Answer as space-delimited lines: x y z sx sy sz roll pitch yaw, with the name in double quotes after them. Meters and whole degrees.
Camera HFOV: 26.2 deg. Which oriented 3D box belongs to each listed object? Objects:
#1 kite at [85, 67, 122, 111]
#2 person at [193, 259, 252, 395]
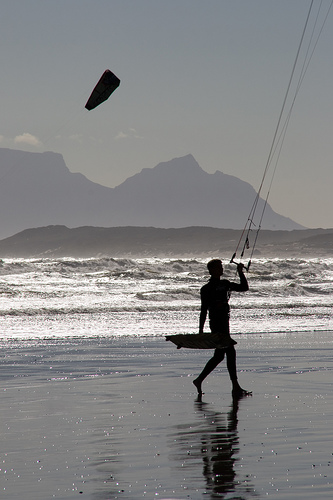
-1.608 -3.814 17.618 0.466 1.388 0.062 36 -31 -7 "kite"
0.692 0.967 9.041 0.715 1.693 1.467 0 1 5 "person"
